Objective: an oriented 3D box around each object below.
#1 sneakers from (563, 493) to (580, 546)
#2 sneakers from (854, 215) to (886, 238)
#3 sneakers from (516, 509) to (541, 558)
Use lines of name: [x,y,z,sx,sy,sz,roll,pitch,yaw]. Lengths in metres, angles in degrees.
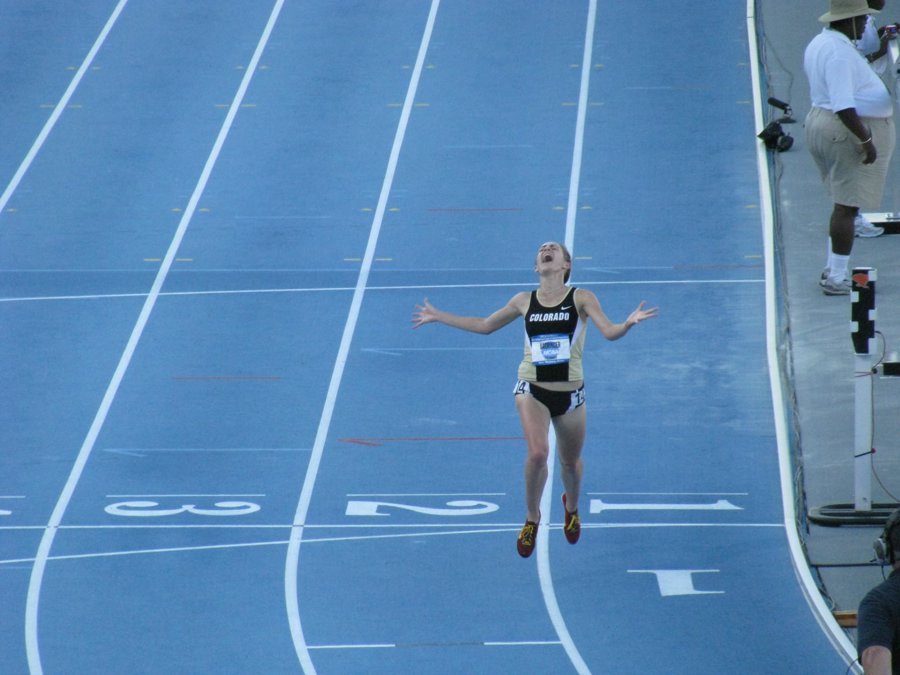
sneakers: [0.935,1.431,13.623,0.143,0.360,0.150,-3,3,-7]
sneakers: [3.877,-1.014,16.233,0.331,0.166,0.151,8,26,-15]
sneakers: [0.603,1.517,13.468,0.133,0.340,0.141,7,7,2]
